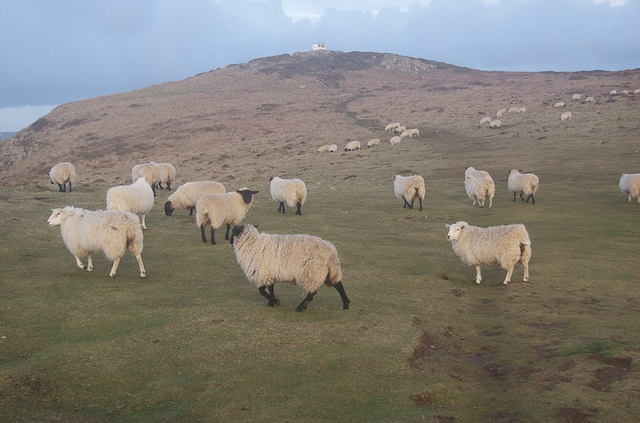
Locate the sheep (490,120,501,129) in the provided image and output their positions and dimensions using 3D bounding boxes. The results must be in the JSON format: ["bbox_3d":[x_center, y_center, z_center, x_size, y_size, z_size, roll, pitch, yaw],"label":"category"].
[{"bbox_3d":[15.304,-7.762,42.532,0.852,0.668,2.052,1,10,21],"label":"sheep"}]

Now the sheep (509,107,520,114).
[{"bbox_3d":[20.112,-10.609,50.433,0.954,0.613,1.532,0,10,17],"label":"sheep"}]

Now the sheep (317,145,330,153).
[{"bbox_3d":[0.246,-5.001,38.197,0.962,0.537,1.195,-2,9,1],"label":"sheep"}]

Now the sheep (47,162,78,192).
[{"bbox_3d":[-11.886,-1.630,22.477,0.952,1.299,0.981,-9,12,-29],"label":"sheep"}]

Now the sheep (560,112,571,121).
[{"bbox_3d":[20.633,-8.074,40.885,0.801,0.582,1.348,1,10,21],"label":"sheep"}]

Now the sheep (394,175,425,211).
[{"bbox_3d":[3.830,-0.851,20.510,0.820,1.367,1.747,-6,10,-16],"label":"sheep"}]

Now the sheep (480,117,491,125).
[{"bbox_3d":[15.431,-8.622,45.478,0.761,0.659,1.333,3,11,31],"label":"sheep"}]

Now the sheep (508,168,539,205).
[{"bbox_3d":[8.763,-1.176,21.248,0.818,1.470,2.157,6,3,-10],"label":"sheep"}]

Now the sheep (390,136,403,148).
[{"bbox_3d":[6.064,-5.683,38.866,0.725,0.601,1.286,-2,0,-10],"label":"sheep"}]

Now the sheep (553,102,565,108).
[{"bbox_3d":[24.172,-10.967,49.563,0.660,0.502,1.406,-5,9,-11],"label":"sheep"}]

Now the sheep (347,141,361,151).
[{"bbox_3d":[2.632,-5.261,38.252,1.089,0.655,0.701,-3,10,-4],"label":"sheep"}]

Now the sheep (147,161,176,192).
[{"bbox_3d":[-8.238,-1.834,24.124,1.096,1.285,2.179,-4,-4,40],"label":"sheep"}]
